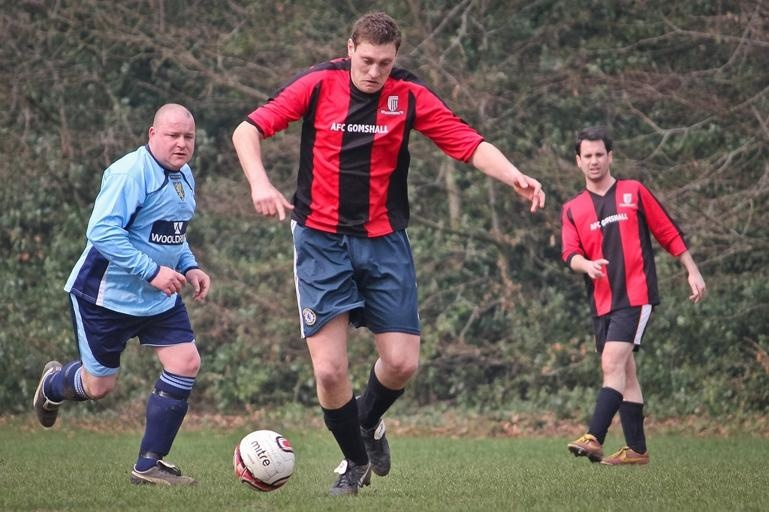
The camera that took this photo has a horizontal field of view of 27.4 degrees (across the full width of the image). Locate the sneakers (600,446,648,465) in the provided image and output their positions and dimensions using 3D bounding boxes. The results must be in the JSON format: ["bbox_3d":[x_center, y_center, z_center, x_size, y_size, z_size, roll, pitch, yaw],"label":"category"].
[{"bbox_3d":[2.591,2.145,16.898,0.539,0.200,0.191,2,-12,-1],"label":"sneakers"}]

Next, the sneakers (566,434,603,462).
[{"bbox_3d":[2.168,2.057,16.868,0.469,0.233,0.192,21,-18,-19],"label":"sneakers"}]

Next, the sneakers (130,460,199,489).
[{"bbox_3d":[-2.263,2.184,15.986,0.718,0.283,0.247,0,-9,0],"label":"sneakers"}]

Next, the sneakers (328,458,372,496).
[{"bbox_3d":[-0.290,2.172,15.687,0.198,0.271,0.553,3,19,40],"label":"sneakers"}]
